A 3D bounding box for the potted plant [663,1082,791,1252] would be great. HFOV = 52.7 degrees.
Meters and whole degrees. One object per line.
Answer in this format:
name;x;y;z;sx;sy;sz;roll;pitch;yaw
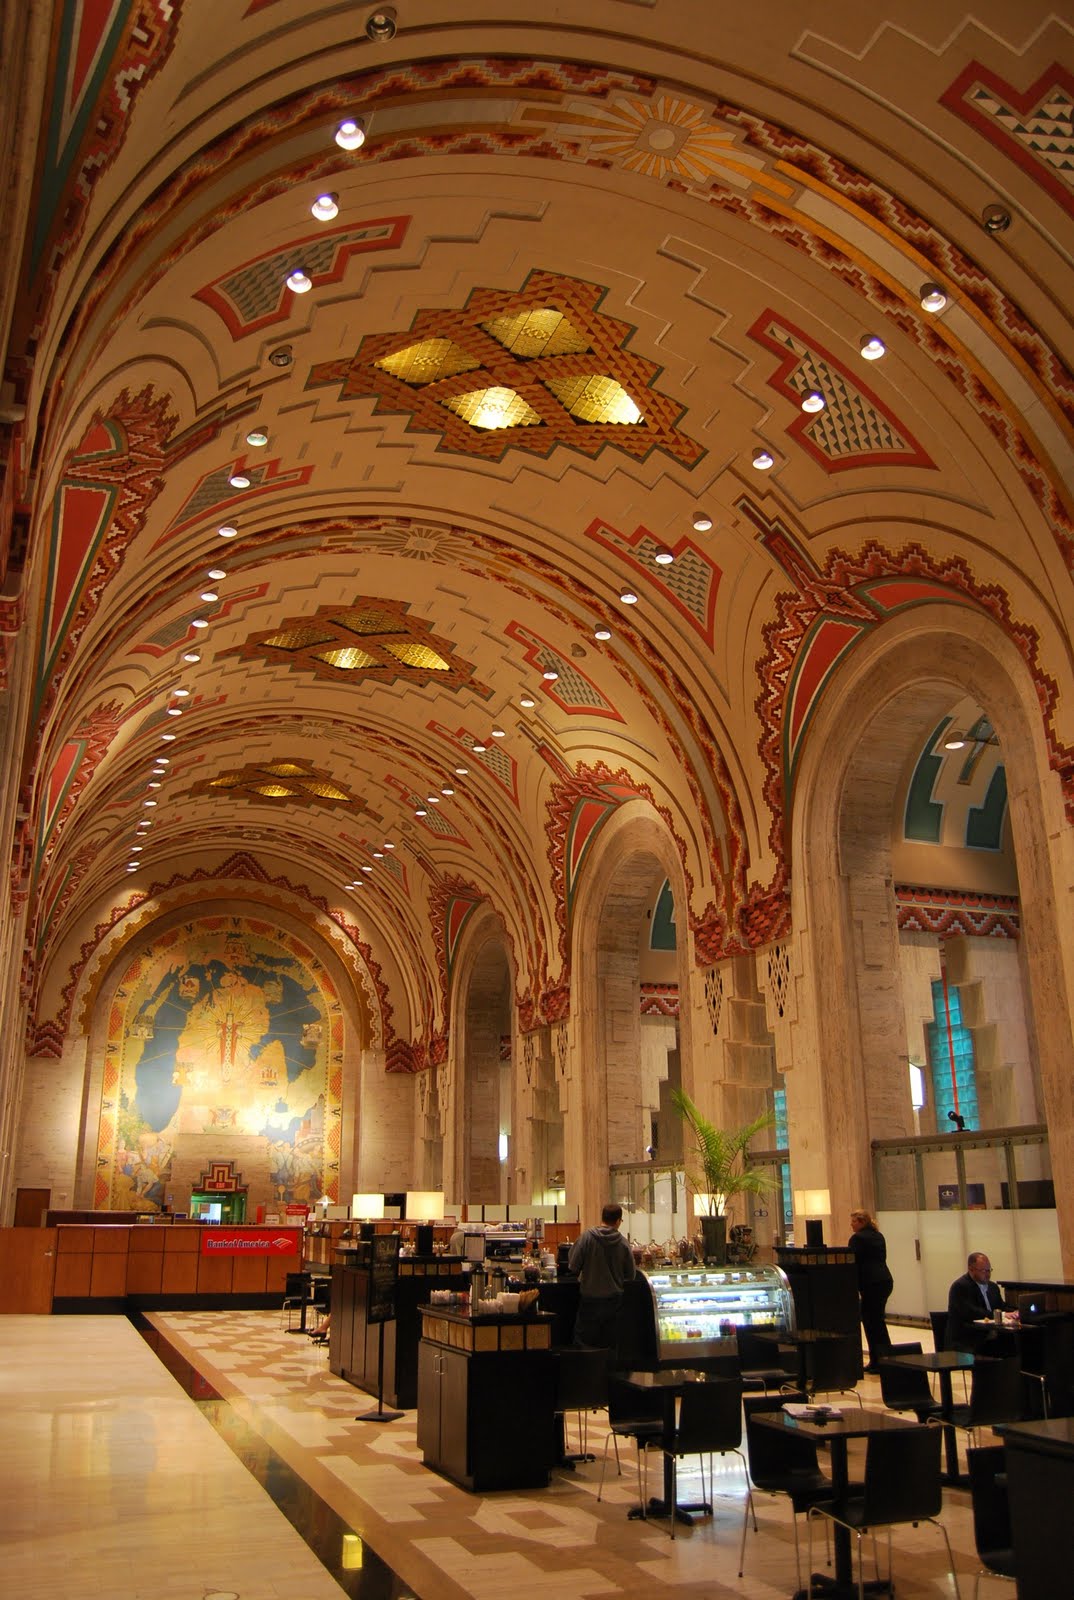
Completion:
potted plant;2.272;4.250;12.425;1.183;1.609;3.997;-5;-20;11
